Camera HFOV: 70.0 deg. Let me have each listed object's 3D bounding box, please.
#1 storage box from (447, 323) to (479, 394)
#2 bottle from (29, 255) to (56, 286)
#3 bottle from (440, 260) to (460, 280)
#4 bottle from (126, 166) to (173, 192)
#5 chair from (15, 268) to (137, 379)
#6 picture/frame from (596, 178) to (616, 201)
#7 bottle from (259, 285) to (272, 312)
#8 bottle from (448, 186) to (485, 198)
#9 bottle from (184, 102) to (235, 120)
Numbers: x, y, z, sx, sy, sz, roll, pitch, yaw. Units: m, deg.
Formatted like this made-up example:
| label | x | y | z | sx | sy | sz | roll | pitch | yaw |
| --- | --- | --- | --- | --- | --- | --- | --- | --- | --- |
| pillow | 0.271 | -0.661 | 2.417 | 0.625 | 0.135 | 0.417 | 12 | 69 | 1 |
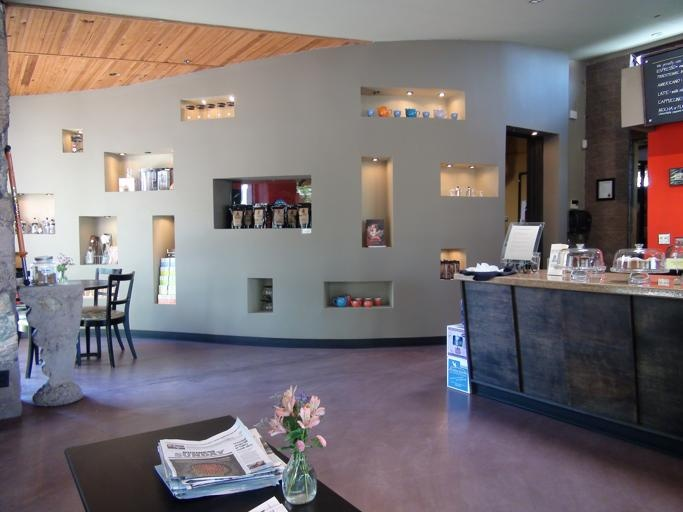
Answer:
| label | x | y | z | sx | sy | sz | roll | pitch | yaw |
| --- | --- | --- | --- | --- | --- | --- | --- | --- | --- |
| storage box | 1.228 | 1.070 | 5.115 | 0.179 | 0.659 | 0.334 | -1 | 8 | -5 |
| bottle | -3.217 | 0.153 | 5.207 | 0.246 | 0.336 | 0.292 | -3 | -6 | 36 |
| bottle | 1.570 | 0.185 | 7.107 | 0.290 | 0.298 | 0.299 | 1 | 3 | 6 |
| bottle | -2.997 | -1.177 | 7.496 | 1.094 | 0.359 | 0.381 | 4 | 9 | 27 |
| chair | -3.307 | 0.823 | 6.616 | 1.106 | 1.800 | 1.254 | -1 | -4 | 41 |
| picture/frame | 4.351 | -1.094 | 7.983 | 0.053 | 0.477 | 0.351 | -2 | 4 | -37 |
| bottle | -1.100 | 0.624 | 7.118 | 0.179 | 0.356 | 0.367 | -2 | 8 | -12 |
| bottle | 1.864 | -0.952 | 7.185 | 0.555 | 0.154 | 0.470 | -1 | 8 | -2 |
| bottle | -1.974 | -2.157 | 7.270 | 0.773 | 0.254 | 0.183 | 0 | 8 | 3 |
